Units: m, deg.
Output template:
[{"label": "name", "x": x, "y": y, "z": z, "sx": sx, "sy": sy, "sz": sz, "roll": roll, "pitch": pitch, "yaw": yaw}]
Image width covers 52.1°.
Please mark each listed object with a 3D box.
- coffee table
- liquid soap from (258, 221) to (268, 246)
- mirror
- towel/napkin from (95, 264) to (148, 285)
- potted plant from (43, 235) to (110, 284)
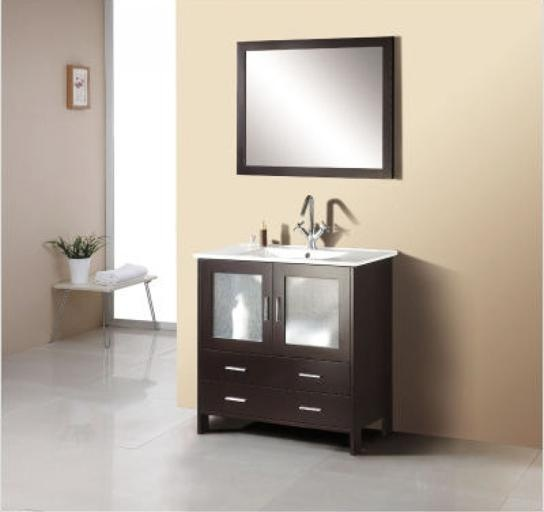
[{"label": "coffee table", "x": -1.209, "y": 0.402, "z": 4.107, "sx": 0.671, "sy": 0.523, "sz": 0.535, "roll": 2, "pitch": 6, "yaw": 23}, {"label": "liquid soap", "x": -0.039, "y": -0.106, "z": 2.665, "sx": 0.041, "sy": 0.119, "sz": 0.044, "roll": -1, "pitch": 6, "yaw": 2}, {"label": "mirror", "x": 0.225, "y": -0.702, "z": 2.570, "sx": 0.584, "sy": 0.554, "sz": 0.025, "roll": 2, "pitch": 5, "yaw": 19}, {"label": "towel/napkin", "x": -1.057, "y": 0.127, "z": 3.971, "sx": 0.168, "sy": 0.079, "sz": 0.224, "roll": 6, "pitch": 12, "yaw": 36}, {"label": "potted plant", "x": -1.391, "y": 0.038, "z": 4.052, "sx": 0.348, "sy": 0.280, "sz": 0.356, "roll": 0, "pitch": -4, "yaw": -28}]
